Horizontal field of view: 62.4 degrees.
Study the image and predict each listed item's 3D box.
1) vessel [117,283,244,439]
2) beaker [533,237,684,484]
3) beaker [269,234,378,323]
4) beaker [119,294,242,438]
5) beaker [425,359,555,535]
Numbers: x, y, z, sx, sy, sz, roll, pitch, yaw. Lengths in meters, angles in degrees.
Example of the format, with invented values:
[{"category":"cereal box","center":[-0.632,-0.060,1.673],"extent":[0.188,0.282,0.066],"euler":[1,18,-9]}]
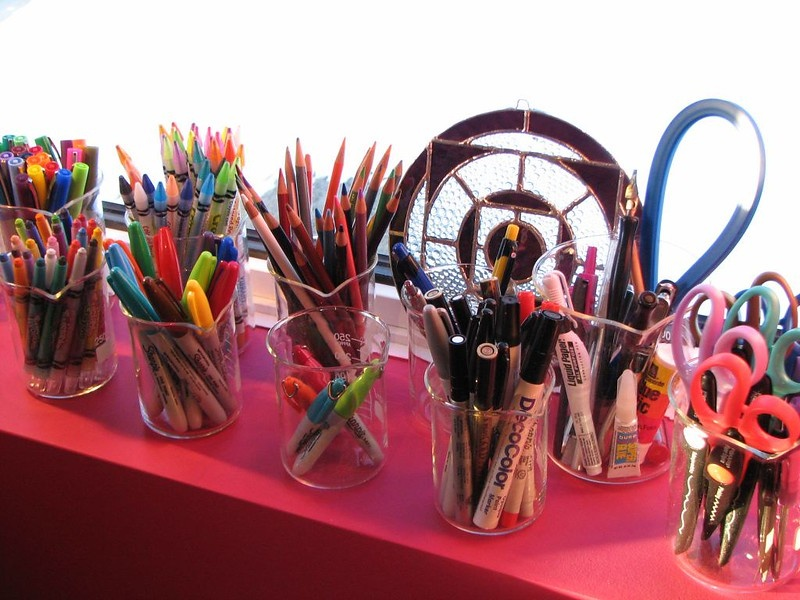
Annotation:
[{"category":"vessel","center":[-0.229,0.078,0.741],"extent":[0.082,0.147,0.113],"euler":[-17,0,-19]},{"category":"beaker","center":[0.220,0.090,0.688],"extent":[0.123,0.186,0.134],"euler":[3,0,23]},{"category":"beaker","center":[-0.081,-0.015,0.718],"extent":[0.071,0.096,0.093],"euler":[5,42,9]},{"category":"beaker","center":[-0.230,0.073,0.699],"extent":[0.097,0.123,0.080],"euler":[15,32,21]},{"category":"beaker","center":[0.084,0.159,0.641],"extent":[0.092,0.128,0.075],"euler":[6,-4,-12]}]
